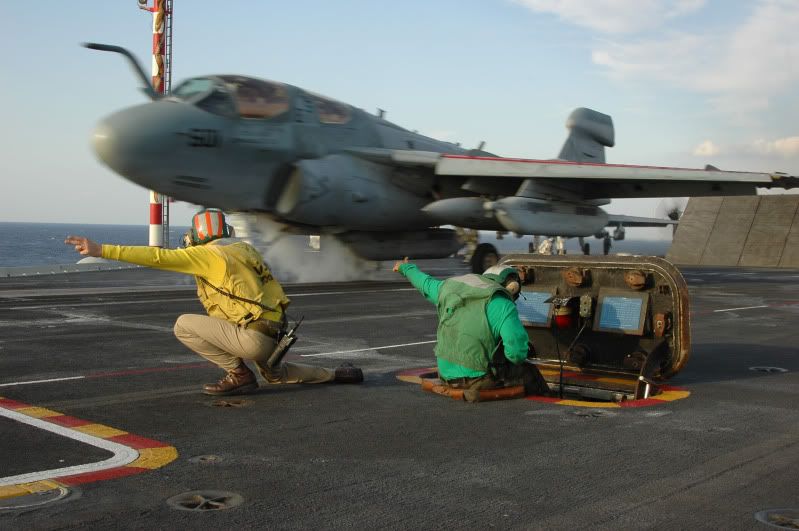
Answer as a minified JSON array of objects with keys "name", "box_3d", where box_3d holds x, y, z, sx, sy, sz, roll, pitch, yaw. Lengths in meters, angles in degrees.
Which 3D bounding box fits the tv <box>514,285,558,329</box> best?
[{"name":"tv","box_3d":[1.870,0.568,7.755,1.074,0.613,0.110,-4,-14,37]}]

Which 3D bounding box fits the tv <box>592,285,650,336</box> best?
[{"name":"tv","box_3d":[2.995,0.625,7.453,0.308,0.577,0.924,19,-11,-21]}]

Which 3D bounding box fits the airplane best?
[{"name":"airplane","box_3d":[-0.848,-2.983,18.050,13.244,2.482,13.020,1,2,-39]}]
